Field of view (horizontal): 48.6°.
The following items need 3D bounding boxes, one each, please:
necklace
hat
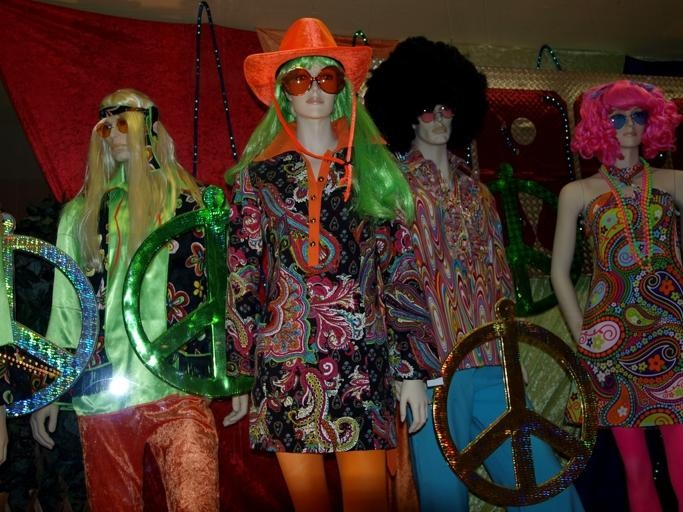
[{"bbox_3d":[1.360,-0.189,3.581,0.173,0.511,0.054,-5,-18,1],"label":"necklace"},{"bbox_3d":[-0.190,-0.881,3.524,0.550,0.253,0.638,-2,-15,-1],"label":"hat"}]
